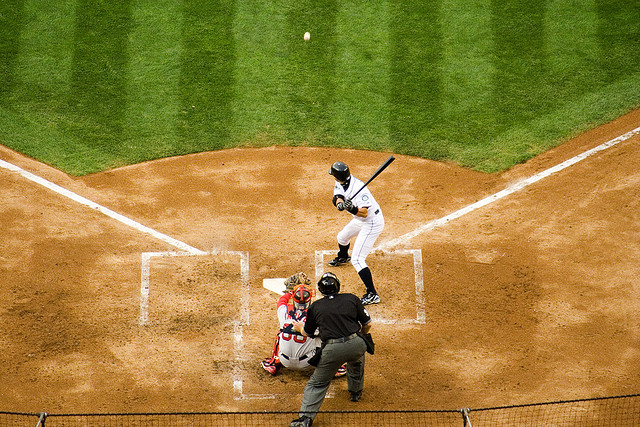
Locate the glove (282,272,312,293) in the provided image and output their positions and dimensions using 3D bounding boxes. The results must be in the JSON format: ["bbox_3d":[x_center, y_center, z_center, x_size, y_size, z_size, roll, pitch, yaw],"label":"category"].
[{"bbox_3d":[-0.472,1.433,28.952,0.440,0.491,0.193,-8,109,2],"label":"glove"}]

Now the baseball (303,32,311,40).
[{"bbox_3d":[-0.302,-4.404,34.556,0.127,0.109,0.165,0,73,2],"label":"baseball"}]

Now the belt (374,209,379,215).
[{"bbox_3d":[1.256,-0.008,30.062,0.081,0.074,0.110,29,82,4],"label":"belt"}]

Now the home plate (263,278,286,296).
[{"bbox_3d":[-0.983,1.620,30.306,0.499,0.354,0.404,-1,81,0],"label":"home plate"}]
